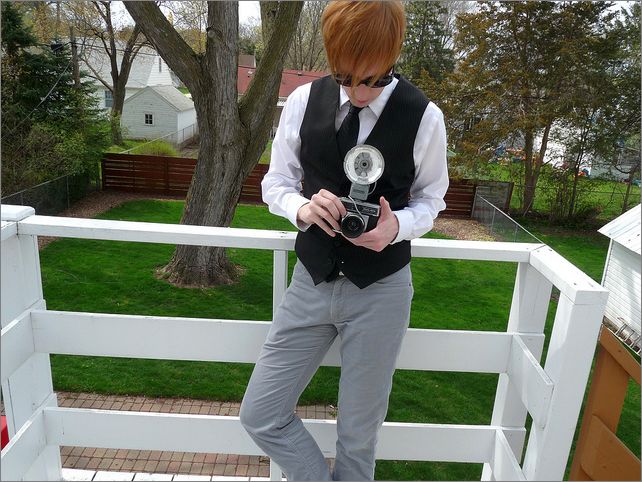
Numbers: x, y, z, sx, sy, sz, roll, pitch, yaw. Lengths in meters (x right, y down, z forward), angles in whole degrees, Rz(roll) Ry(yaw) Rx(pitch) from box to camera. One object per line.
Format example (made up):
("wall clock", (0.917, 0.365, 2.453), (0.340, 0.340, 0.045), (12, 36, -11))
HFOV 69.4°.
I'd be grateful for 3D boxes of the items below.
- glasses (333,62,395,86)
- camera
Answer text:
("glasses", (0.181, -0.681, 1.905), (0.256, 0.095, 0.112), (4, 13, -3))
("camera", (0.162, -0.200, 1.868), (0.170, 0.369, 0.120), (5, 13, 3))
